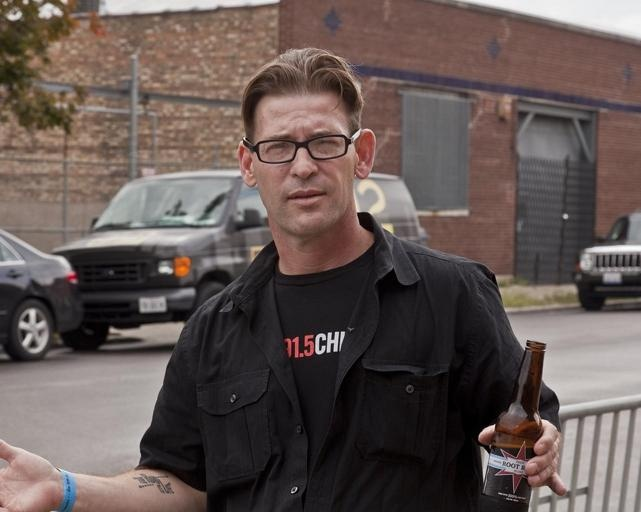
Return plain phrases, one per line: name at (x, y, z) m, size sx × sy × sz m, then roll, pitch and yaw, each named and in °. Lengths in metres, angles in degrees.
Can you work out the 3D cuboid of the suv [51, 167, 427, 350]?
suv at (-1.281, -0.161, 9.346) m, size 1.404 × 1.338 × 2.998 m, roll -7°, pitch -3°, yaw 37°
